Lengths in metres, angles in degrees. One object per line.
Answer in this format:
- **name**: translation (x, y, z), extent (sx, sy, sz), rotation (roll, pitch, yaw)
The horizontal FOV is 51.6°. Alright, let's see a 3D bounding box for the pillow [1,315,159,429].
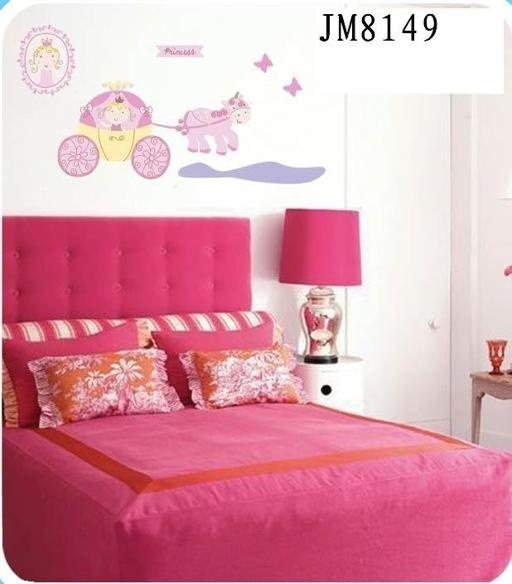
- **pillow**: translation (-0.823, 0.345, 2.131), extent (0.443, 0.397, 0.125), rotation (1, -29, -40)

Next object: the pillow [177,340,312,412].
- **pillow**: translation (-0.032, 0.372, 2.363), extent (0.464, 0.260, 0.139), rotation (1, -28, -34)

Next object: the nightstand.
- **nightstand**: translation (0.383, 0.465, 2.879), extent (0.314, 0.329, 0.313), rotation (1, 5, 22)
